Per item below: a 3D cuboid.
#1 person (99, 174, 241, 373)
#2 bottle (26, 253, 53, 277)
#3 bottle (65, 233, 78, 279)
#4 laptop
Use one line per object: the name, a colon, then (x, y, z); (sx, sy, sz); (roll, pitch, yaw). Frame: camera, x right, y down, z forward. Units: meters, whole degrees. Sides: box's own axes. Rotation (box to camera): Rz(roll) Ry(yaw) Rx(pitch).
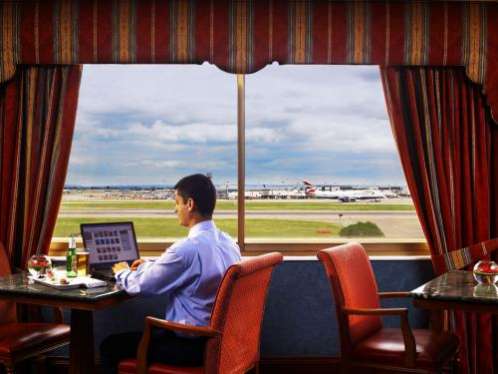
person: (-0.555, 0.603, 3.300); (0.907, 1.378, 0.445); (-4, -9, 18)
bottle: (-1.585, 0.589, 3.454); (0.187, 0.157, 0.135); (-1, -9, -6)
bottle: (-1.351, 0.521, 3.487); (0.076, 0.317, 0.188); (2, -9, -22)
laptop: (-1.160, 0.486, 3.798); (0.475, 0.402, 0.392); (2, -5, -32)
